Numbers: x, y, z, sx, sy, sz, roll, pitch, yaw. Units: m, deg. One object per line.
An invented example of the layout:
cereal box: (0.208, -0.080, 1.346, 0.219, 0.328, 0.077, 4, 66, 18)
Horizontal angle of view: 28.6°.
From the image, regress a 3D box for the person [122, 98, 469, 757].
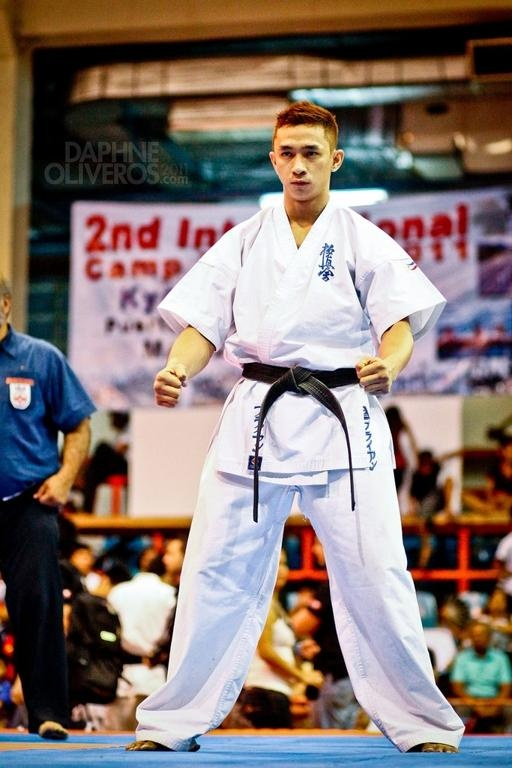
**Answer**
person: (0.089, 0.096, 2.878, 0.862, 1.854, 0.391, -4, -13, 16)
